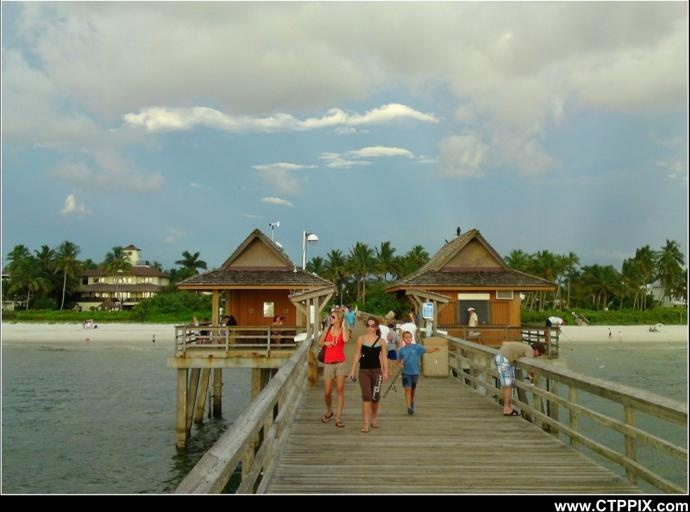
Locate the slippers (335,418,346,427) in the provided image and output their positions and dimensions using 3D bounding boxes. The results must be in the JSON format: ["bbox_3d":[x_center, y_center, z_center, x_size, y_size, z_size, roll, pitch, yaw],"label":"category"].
[{"bbox_3d":[-0.115,3.783,15.738,0.132,0.170,0.409,0,-12,-4],"label":"slippers"}]

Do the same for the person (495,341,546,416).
[{"bbox_3d":[3.986,2.859,16.017,0.946,1.742,1.087,-1,-5,-39],"label":"person"}]

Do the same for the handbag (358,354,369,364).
[{"bbox_3d":[0.401,2.242,15.122,0.159,0.191,0.190,1,-4,15],"label":"handbag"}]

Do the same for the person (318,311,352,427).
[{"bbox_3d":[-0.253,2.456,15.441,0.728,2.579,0.875,7,-11,-44],"label":"person"}]

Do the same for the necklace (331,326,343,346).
[{"bbox_3d":[-0.161,1.787,15.300,0.259,0.382,0.161,0,-5,7],"label":"necklace"}]
